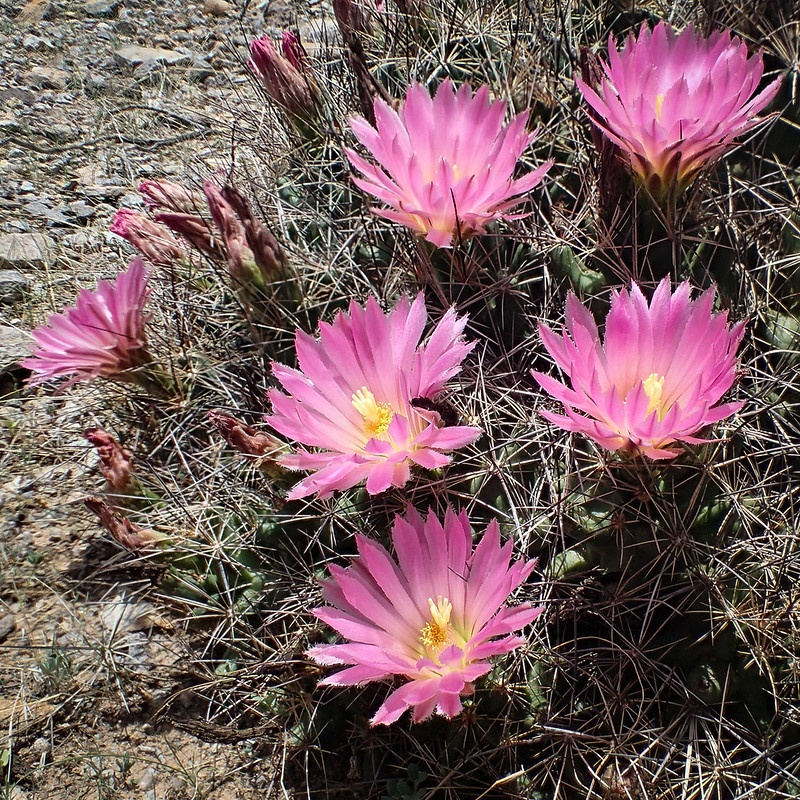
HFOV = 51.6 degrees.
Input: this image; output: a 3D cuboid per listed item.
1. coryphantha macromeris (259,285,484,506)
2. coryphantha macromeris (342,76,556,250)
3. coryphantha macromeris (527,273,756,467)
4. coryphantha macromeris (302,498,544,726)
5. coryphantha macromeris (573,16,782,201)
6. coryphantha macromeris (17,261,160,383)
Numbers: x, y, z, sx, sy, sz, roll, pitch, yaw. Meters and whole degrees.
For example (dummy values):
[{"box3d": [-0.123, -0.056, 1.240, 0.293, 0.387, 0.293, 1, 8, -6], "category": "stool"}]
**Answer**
[{"box3d": [-0.037, -0.021, 1.303, 0.398, 0.411, 0.202, 0, 88, -26], "category": "coryphantha macromeris"}, {"box3d": [0.103, -0.378, 1.365, 0.355, 0.346, 0.191, 13, 86, 37], "category": "coryphantha macromeris"}, {"box3d": [0.375, -0.032, 1.217, 0.357, 0.375, 0.195, -17, 62, 61], "category": "coryphantha macromeris"}, {"box3d": [0.064, 0.296, 1.196, 0.313, 0.283, 0.170, -2, 56, -17], "category": "coryphantha macromeris"}, {"box3d": [0.408, -0.435, 1.337, 0.370, 0.337, 0.289, 1, 85, 15], "category": "coryphantha macromeris"}, {"box3d": [-0.619, -0.182, 1.590, 0.122, 0.245, 0.246, 33, 36, 6], "category": "coryphantha macromeris"}]
